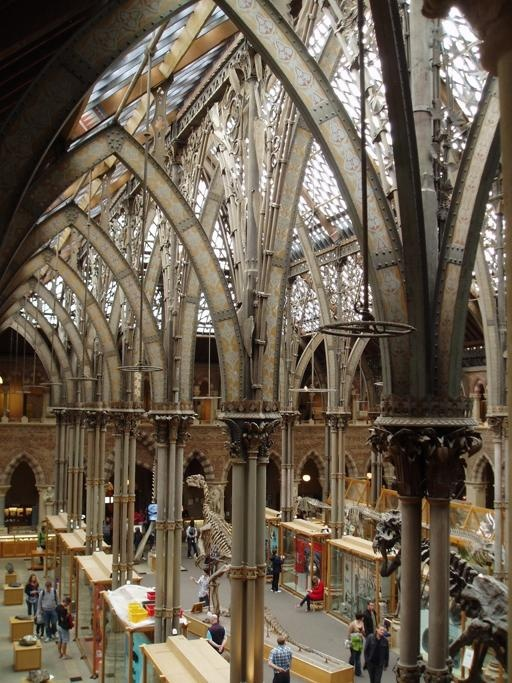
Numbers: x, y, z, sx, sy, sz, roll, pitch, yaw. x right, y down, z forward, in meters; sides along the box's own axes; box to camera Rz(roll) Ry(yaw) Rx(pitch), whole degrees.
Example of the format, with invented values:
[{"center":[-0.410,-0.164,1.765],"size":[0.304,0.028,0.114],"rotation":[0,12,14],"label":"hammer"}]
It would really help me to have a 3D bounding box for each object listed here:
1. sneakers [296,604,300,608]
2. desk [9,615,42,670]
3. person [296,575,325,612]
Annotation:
[{"center":[1.350,8.440,19.676],"size":[0.068,0.080,0.185],"rotation":[0,-13,-6],"label":"sneakers"},{"center":[-5.311,6.899,14.104],"size":[0.678,0.927,1.289],"rotation":[3,-7,-18],"label":"desk"},{"center":[1.767,7.896,19.239],"size":[0.685,1.005,1.186],"rotation":[2,-13,-9],"label":"person"}]
